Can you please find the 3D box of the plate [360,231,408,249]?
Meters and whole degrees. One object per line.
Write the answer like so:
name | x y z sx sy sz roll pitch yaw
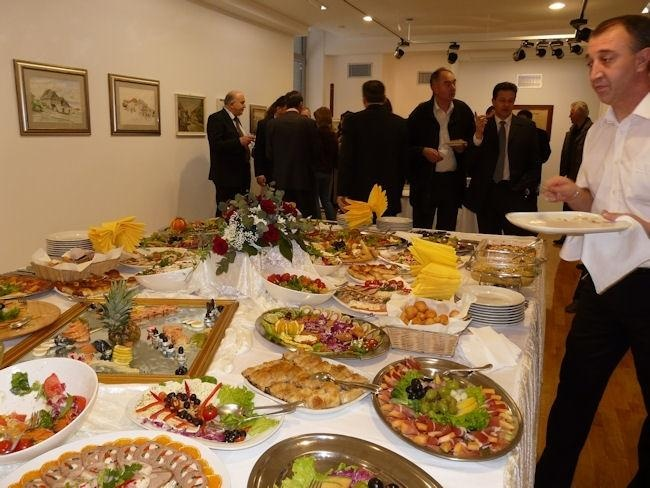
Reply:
plate | 0.452 -0.023 3.480 0.188 0.028 0.189 0 23 -19

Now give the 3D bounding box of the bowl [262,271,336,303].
bowl | -0.150 0.224 2.347 0.210 0.073 0.218 3 15 -1

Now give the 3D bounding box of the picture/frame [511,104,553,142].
picture/frame | 5.645 -3.378 12.437 0.868 0.884 0.055 15 45 36

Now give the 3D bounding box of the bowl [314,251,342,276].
bowl | 0.009 0.120 2.815 0.145 0.074 0.149 0 16 0

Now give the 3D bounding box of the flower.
flower | -0.429 -0.002 2.602 0.546 0.282 0.502 -15 12 18

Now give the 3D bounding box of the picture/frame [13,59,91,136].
picture/frame | -3.151 -1.688 5.376 0.065 0.766 0.949 11 17 17

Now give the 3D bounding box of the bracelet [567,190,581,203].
bracelet | 1.331 -0.250 2.436 0.036 0.048 0.019 7 13 -5

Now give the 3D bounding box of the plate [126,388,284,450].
plate | -0.390 0.550 1.475 0.308 0.047 0.221 9 22 15

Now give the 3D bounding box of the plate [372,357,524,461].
plate | 0.414 0.520 1.586 0.513 0.118 0.482 13 20 34

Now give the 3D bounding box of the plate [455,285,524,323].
plate | 0.821 0.296 2.272 0.231 0.095 0.233 12 18 40

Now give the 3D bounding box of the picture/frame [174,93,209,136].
picture/frame | -2.160 -2.079 7.367 0.692 0.613 0.039 13 16 32

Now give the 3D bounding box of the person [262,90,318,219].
person | -0.463 -1.114 6.779 0.745 2.218 0.641 1 32 -3

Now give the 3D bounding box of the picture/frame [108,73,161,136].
picture/frame | -2.622 -1.933 6.422 0.061 0.750 0.922 9 15 22

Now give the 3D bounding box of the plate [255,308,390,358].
plate | -0.015 0.391 2.005 0.336 0.048 0.255 16 13 38

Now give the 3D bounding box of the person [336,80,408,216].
person | 0.524 -1.032 5.012 0.753 1.449 0.368 2 15 3

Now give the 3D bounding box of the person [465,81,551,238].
person | 1.964 -0.684 5.157 0.774 2.080 0.667 3 19 17

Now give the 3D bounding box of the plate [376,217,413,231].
plate | 0.576 -0.179 3.965 0.167 0.064 0.168 -6 8 -33
